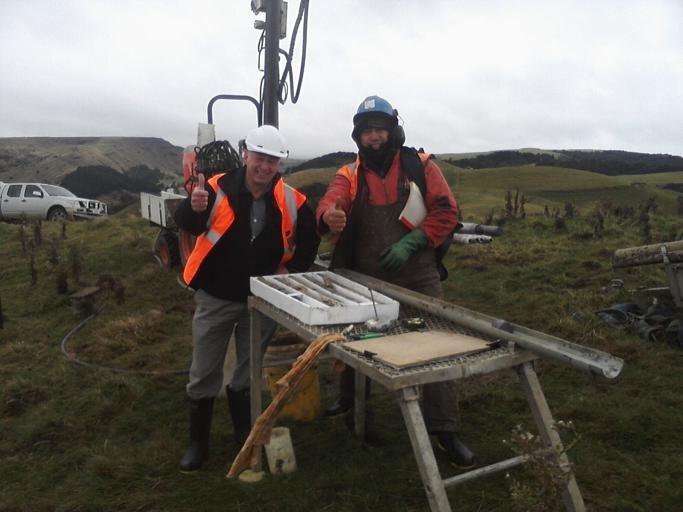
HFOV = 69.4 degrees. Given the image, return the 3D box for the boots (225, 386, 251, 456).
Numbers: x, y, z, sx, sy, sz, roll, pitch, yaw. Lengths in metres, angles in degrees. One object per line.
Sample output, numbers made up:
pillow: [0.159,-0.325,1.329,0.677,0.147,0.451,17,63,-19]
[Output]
boots: [-0.978,1.548,4.691,0.161,0.461,0.373,4,-17,-13]

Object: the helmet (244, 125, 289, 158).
helmet: [-0.650,-0.982,4.228,0.353,0.274,0.248,2,11,-4]

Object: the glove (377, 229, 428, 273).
glove: [0.540,-0.066,4.230,0.266,0.449,0.121,30,12,-12]

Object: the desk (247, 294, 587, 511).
desk: [0.370,1.134,3.668,2.152,1.508,1.976,1,11,-8]

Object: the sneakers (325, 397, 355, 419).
sneakers: [-0.018,1.599,5.171,0.189,0.074,0.191,-7,2,-27]
